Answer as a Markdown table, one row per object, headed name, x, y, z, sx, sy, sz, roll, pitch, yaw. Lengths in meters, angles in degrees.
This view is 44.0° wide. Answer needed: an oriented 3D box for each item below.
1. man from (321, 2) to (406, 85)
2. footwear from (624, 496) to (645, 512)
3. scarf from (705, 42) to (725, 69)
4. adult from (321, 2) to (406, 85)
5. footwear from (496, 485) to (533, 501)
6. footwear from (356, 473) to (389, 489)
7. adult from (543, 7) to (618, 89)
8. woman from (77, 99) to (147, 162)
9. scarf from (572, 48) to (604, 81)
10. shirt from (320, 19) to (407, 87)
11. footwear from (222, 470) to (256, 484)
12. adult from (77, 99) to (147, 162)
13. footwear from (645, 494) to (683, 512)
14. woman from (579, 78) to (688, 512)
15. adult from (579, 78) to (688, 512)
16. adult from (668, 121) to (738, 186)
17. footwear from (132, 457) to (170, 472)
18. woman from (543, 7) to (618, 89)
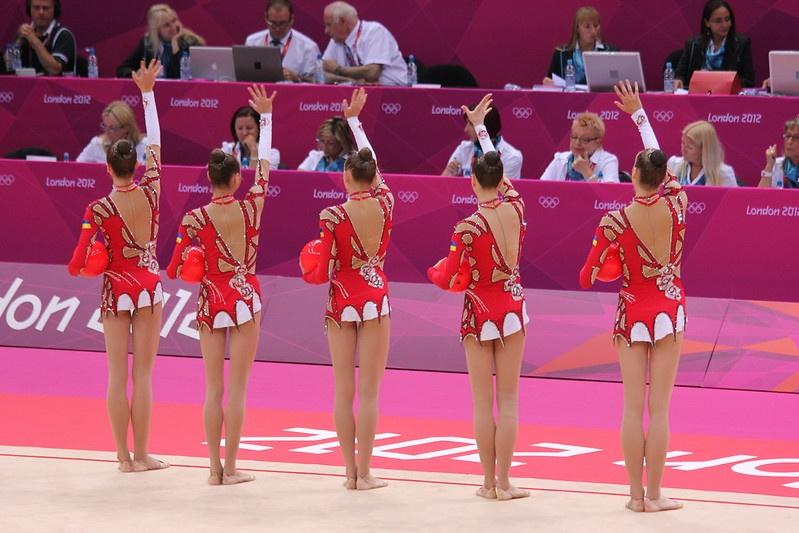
| name | x | y | z | sx | sy | sz | roll | pitch | yaw |
| --- | --- | --- | --- | --- | --- | --- | --- | --- | --- |
| man | -0.424 | -2.646 | 11.897 | 1.010 | 1.025 | 0.851 | -1 | 1 | -5 |
| footwear | 1.711 | 1.720 | 7.147 | 0.133 | 0.089 | 0.082 | -1 | 1 | 12 |
| scarf | 3.596 | -2.366 | 11.244 | 0.149 | 0.296 | 0.205 | 6 | 1 | -42 |
| adult | -0.424 | -2.647 | 11.902 | 1.010 | 1.023 | 0.844 | -1 | 1 | -5 |
| footwear | 0.852 | 1.655 | 7.326 | 0.234 | 0.102 | 0.102 | -2 | -1 | -13 |
| footwear | -0.213 | 1.634 | 7.538 | 0.267 | 0.122 | 0.093 | -4 | 2 | -13 |
| adult | 2.082 | -2.542 | 11.456 | 0.688 | 0.814 | 0.362 | -1 | 1 | 19 |
| woman | -2.952 | -1.415 | 10.205 | 0.955 | 0.589 | 0.420 | 3 | 8 | 20 |
| scarf | 2.219 | -2.339 | 11.491 | 0.279 | 0.372 | 0.405 | -3 | 17 | 0 |
| shirt | -0.424 | -2.529 | 12.088 | 1.159 | 0.866 | 0.950 | -14 | 13 | -12 |
| footwear | -1.228 | 1.576 | 7.528 | 0.185 | 0.077 | 0.101 | -3 | 6 | -37 |
| adult | -2.952 | -1.415 | 10.205 | 0.955 | 0.589 | 0.420 | 3 | 8 | 20 |
| footwear | 1.915 | 1.703 | 7.145 | 0.223 | 0.094 | 0.121 | -2 | 5 | -11 |
| woman | 1.761 | 0.448 | 7.246 | 0.699 | 2.626 | 0.335 | -1 | 1 | 9 |
| adult | 1.761 | 0.448 | 7.246 | 0.699 | 2.626 | 0.335 | -1 | 1 | 9 |
| adult | 3.023 | -1.113 | 9.886 | 0.437 | 0.717 | 0.790 | -31 | 31 | -31 |
| footwear | -1.958 | 1.527 | 7.745 | 0.211 | 0.089 | 0.115 | -1 | 5 | -22 |
| woman | 2.083 | -2.542 | 11.456 | 0.687 | 0.814 | 0.362 | -1 | 1 | 19 |
